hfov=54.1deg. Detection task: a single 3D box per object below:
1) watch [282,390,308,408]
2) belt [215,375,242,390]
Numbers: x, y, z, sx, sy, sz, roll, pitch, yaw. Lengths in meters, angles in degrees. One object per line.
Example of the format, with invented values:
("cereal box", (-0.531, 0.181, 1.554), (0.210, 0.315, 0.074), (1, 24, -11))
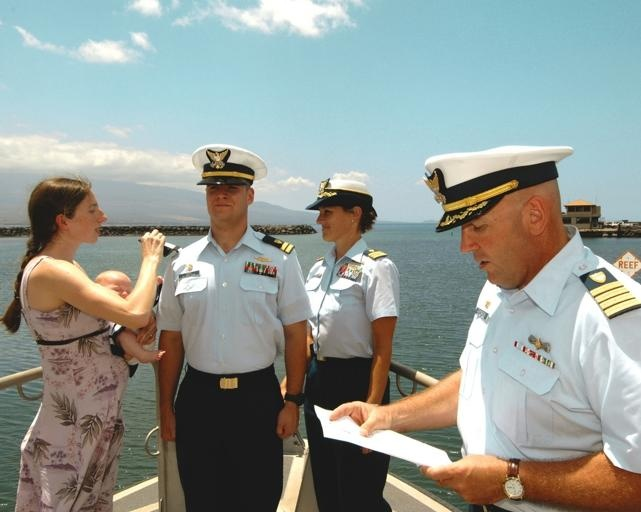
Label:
("watch", (-0.155, 0.905, 4.006), (0.101, 0.055, 0.101), (2, 1, 24))
("belt", (-0.557, 0.773, 3.840), (0.118, 0.074, 0.032), (0, 11, -7))
